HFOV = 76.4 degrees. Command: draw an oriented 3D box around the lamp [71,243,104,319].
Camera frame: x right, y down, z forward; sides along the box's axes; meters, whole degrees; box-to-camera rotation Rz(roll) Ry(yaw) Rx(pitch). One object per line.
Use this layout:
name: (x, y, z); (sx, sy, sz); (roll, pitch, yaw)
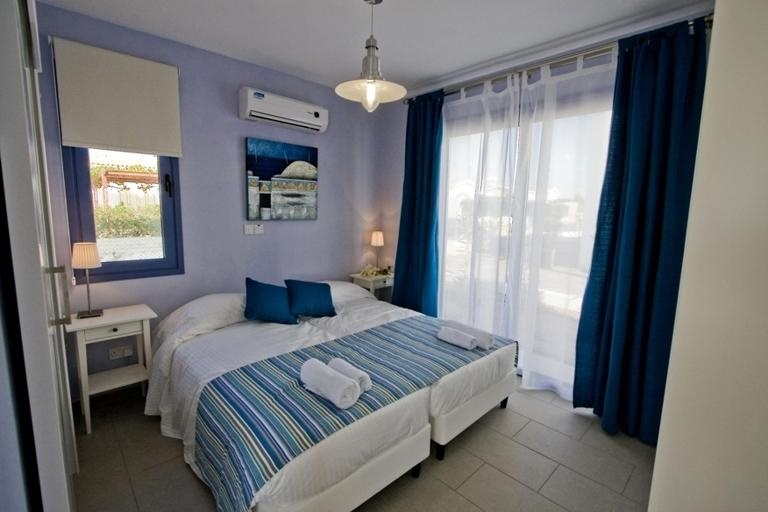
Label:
lamp: (-2.228, 0.169, 3.696); (0.178, 0.558, 0.284); (-7, 9, -32)

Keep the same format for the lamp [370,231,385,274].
lamp: (-0.072, -0.081, 5.587); (0.165, 0.444, 0.272); (-2, 8, 1)
